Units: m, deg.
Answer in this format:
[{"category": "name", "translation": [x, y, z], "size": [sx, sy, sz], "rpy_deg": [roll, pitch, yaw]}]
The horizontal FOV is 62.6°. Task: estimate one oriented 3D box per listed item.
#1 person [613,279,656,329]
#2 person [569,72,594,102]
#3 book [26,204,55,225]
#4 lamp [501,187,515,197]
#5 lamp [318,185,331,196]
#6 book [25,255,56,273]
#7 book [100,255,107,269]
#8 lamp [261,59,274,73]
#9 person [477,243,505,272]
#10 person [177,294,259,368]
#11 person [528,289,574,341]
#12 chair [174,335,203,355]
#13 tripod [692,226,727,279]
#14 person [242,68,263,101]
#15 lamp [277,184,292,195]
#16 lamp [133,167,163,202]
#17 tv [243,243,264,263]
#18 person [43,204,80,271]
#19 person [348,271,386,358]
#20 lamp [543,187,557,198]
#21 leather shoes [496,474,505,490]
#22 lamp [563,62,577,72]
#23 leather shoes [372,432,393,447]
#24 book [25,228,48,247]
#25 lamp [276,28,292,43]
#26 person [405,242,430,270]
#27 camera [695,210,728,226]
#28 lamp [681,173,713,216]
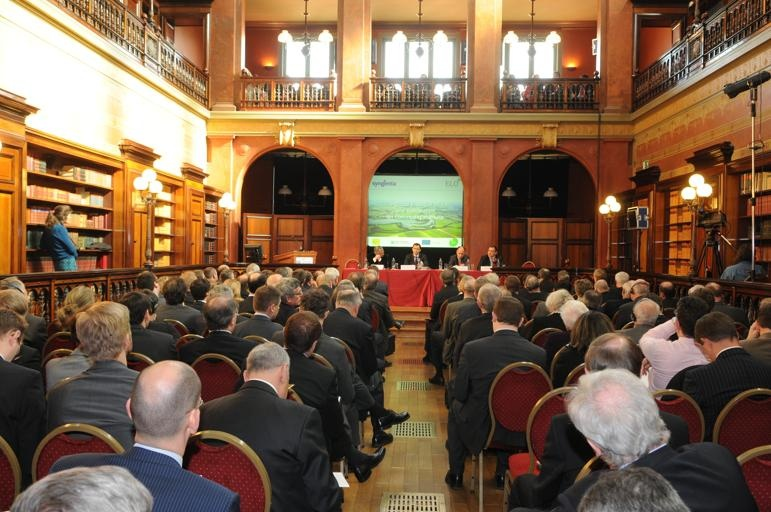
[{"category": "person", "translation": [2.993, 0.592, 7.661], "size": [0.348, 0.819, 0.264], "rpy_deg": [15, 0, 19]}, {"category": "person", "translation": [4.815, -4.157, 15.617], "size": [0.705, 0.735, 0.548], "rpy_deg": [0, 1, 4]}, {"category": "book", "translation": [-5.292, -0.619, 9.660], "size": [0.163, 0.306, 0.305], "rpy_deg": [-22, -14, 40]}, {"category": "lamp", "translation": [3.605, -1.925, 18.524], "size": [0.350, 0.333, 0.362], "rpy_deg": [1, -3, -4]}, {"category": "lamp", "translation": [-1.816, -1.896, 18.882], "size": [0.378, 0.336, 0.924], "rpy_deg": [-1, 13, -6]}, {"category": "book", "translation": [-5.332, 0.125, 9.743], "size": [0.240, 0.140, 0.221], "rpy_deg": [-4, 37, -40]}, {"category": "book", "translation": [-4.999, 0.107, 11.186], "size": [0.116, 0.214, 0.214], "rpy_deg": [0, -3, -18]}, {"category": "lamp", "translation": [-3.452, -5.594, 18.565], "size": [0.288, 0.352, 0.304], "rpy_deg": [3, -2, -14]}, {"category": "person", "translation": [2.409, 0.050, 14.705], "size": [0.597, 0.422, 1.035], "rpy_deg": [-2, -4, 9]}, {"category": "person", "translation": [-1.541, 0.710, 5.886], "size": [0.697, 0.635, 0.348], "rpy_deg": [0, 9, 6]}, {"category": "person", "translation": [1.893, 0.668, 7.360], "size": [0.479, 0.863, 0.560], "rpy_deg": [0, 8, 2]}, {"category": "chair", "translation": [-1.961, 0.861, 6.260], "size": [0.286, 0.104, 0.209], "rpy_deg": [-4, -6, 36]}, {"category": "tripod", "translation": [5.609, -0.024, 10.940], "size": [0.423, 1.090, 1.392], "rpy_deg": [5, 13, 21]}, {"category": "person", "translation": [-3.273, -4.191, 15.766], "size": [0.721, 0.876, 0.225], "rpy_deg": [3, 13, 12]}, {"category": "lamp", "translation": [-2.941, -1.888, 18.458], "size": [0.323, 0.304, 0.336], "rpy_deg": [0, -3, 7]}, {"category": "lamp", "translation": [-4.260, -1.241, 11.245], "size": [0.394, 0.653, 1.658], "rpy_deg": [-5, 14, -22]}, {"category": "tv", "translation": [-3.093, -0.046, 14.661], "size": [0.452, 0.561, 0.449], "rpy_deg": [-7, 9, -2]}, {"category": "person", "translation": [-4.821, -0.252, 9.388], "size": [0.377, 0.953, 0.541], "rpy_deg": [-6, 14, -28]}, {"category": "person", "translation": [-0.230, 0.729, 8.705], "size": [0.492, 1.246, 0.704], "rpy_deg": [2, 27, -2]}, {"category": "lamp", "translation": [4.816, -1.828, 18.544], "size": [0.348, 0.215, 0.361], "rpy_deg": [0, -3, 0]}, {"category": "leather shoes", "translation": [1.080, 2.135, 5.958], "size": [0.054, 0.073, 0.165], "rpy_deg": [1, 0, 6]}, {"category": "lamp", "translation": [5.333, -5.436, 18.250], "size": [0.285, 0.196, 0.286], "rpy_deg": [0, -2, -30]}, {"category": "leather shoes", "translation": [-0.037, 1.975, 6.844], "size": [0.224, 0.147, 0.113], "rpy_deg": [-3, 1, -27]}, {"category": "book", "translation": [-5.369, -0.281, 9.714], "size": [0.207, 0.293, 0.292], "rpy_deg": [-1, -2, 36]}, {"category": "lamp", "translation": [-2.789, -6.194, 17.697], "size": [0.414, 0.438, 1.661], "rpy_deg": [-1, 13, -9]}, {"category": "person", "translation": [0.717, 0.011, 14.329], "size": [0.529, 0.620, 0.720], "rpy_deg": [-1, -5, 4]}, {"category": "camera", "translation": [5.427, -0.660, 10.485], "size": [0.313, 0.273, 0.432], "rpy_deg": [-9, 3, -41]}, {"category": "lamp", "translation": [5.127, -0.994, 10.450], "size": [0.384, 0.709, 1.203], "rpy_deg": [7, 14, 26]}]
